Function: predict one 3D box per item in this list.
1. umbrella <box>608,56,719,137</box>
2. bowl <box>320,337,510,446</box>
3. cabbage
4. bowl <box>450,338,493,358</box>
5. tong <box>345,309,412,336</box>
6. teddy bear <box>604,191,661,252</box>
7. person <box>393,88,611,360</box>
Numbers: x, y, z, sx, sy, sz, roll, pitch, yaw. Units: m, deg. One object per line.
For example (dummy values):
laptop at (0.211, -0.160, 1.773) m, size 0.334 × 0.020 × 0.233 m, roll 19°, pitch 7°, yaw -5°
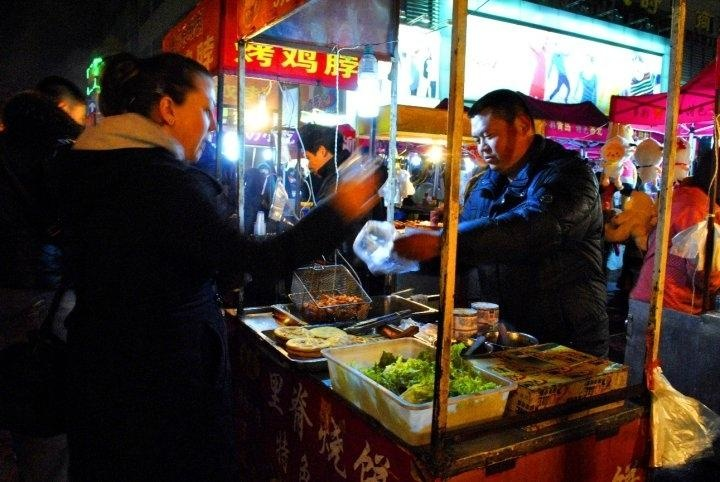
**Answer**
umbrella at (4.281, -1.773, 7.421) m, size 1.359 × 0.608 × 2.073 m, roll -1°, pitch 7°, yaw -11°
bowl at (0.257, 0.693, 2.843) m, size 0.731 × 0.183 × 0.867 m, roll -4°, pitch 11°, yaw -42°
cabbage at (0.278, 0.623, 2.700) m, size 0.355 × 0.085 × 0.368 m, roll -3°, pitch 7°, yaw -28°
bowl at (0.602, 0.570, 3.013) m, size 0.149 × 0.062 × 0.114 m, roll -5°, pitch 5°, yaw -36°
tong at (0.104, 0.501, 3.693) m, size 0.262 × 0.131 × 0.375 m, roll 6°, pitch 13°, yaw 31°
teddy bear at (3.034, -0.229, 6.435) m, size 0.759 × 0.585 × 0.346 m, roll -13°, pitch -28°, yaw -3°
person at (0.891, -0.048, 3.449) m, size 0.780 × 2.767 × 0.961 m, roll -1°, pitch 3°, yaw -37°
